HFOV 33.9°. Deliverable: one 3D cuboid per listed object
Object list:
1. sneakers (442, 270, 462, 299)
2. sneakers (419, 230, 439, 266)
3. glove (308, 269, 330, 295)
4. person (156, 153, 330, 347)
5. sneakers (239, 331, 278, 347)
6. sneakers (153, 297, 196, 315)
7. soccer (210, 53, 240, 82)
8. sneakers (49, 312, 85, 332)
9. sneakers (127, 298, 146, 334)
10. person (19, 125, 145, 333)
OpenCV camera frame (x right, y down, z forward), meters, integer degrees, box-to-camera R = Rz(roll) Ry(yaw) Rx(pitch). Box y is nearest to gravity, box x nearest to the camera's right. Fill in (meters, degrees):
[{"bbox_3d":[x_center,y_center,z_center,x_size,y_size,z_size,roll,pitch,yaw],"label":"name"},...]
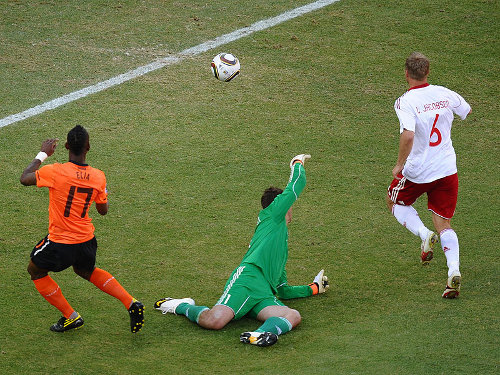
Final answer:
[{"bbox_3d":[2.320,1.096,9.395,0.198,0.361,0.246,5,19,14],"label":"sneakers"},{"bbox_3d":[2.093,0.708,9.529,0.171,0.374,0.193,16,9,-26],"label":"sneakers"},{"bbox_3d":[0.823,1.119,9.605,0.158,0.156,0.398,22,16,8],"label":"glove"},{"bbox_3d":[0.106,0.699,9.067,1.693,1.798,1.217,-14,23,-37],"label":"person"},{"bbox_3d":[0.091,1.603,8.826,0.458,0.129,0.182,3,8,16],"label":"sneakers"},{"bbox_3d":[-0.803,1.326,9.209,0.513,0.142,0.186,0,18,6],"label":"sneakers"},{"bbox_3d":[-0.361,-1.770,12.102,0.389,0.403,0.271,-7,20,-20],"label":"soccer"},{"bbox_3d":[-1.983,1.495,9.075,0.473,0.197,0.150,-14,-13,-1],"label":"sneakers"},{"bbox_3d":[-1.218,1.395,8.835,0.170,0.332,0.201,-1,3,-6],"label":"sneakers"},{"bbox_3d":[-1.835,0.485,8.828,1.173,2.209,0.751,-1,20,-2],"label":"person"}]
